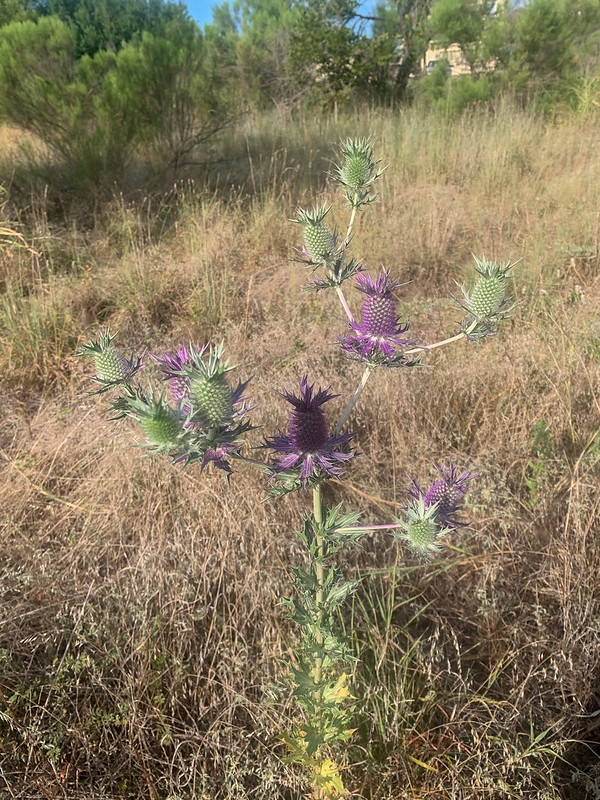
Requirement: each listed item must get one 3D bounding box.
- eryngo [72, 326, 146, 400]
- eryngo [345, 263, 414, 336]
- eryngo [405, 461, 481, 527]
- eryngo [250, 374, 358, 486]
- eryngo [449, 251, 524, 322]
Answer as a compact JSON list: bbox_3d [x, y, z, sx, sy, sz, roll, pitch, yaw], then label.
[{"bbox_3d":[-1.010,-0.183,3.776,0.304,0.316,0.322,-43,18,27],"label":"eryngo"},{"bbox_3d":[0.288,-0.364,2.853,0.259,0.301,0.249,-4,-6,34],"label":"eryngo"},{"bbox_3d":[0.634,0.419,3.113,0.255,0.290,0.288,30,90,16],"label":"eryngo"},{"bbox_3d":[0.011,0.097,2.381,0.283,0.302,0.305,3,17,23],"label":"eryngo"},{"bbox_3d":[0.700,-0.406,2.745,0.186,0.267,0.321,2,38,12],"label":"eryngo"}]
